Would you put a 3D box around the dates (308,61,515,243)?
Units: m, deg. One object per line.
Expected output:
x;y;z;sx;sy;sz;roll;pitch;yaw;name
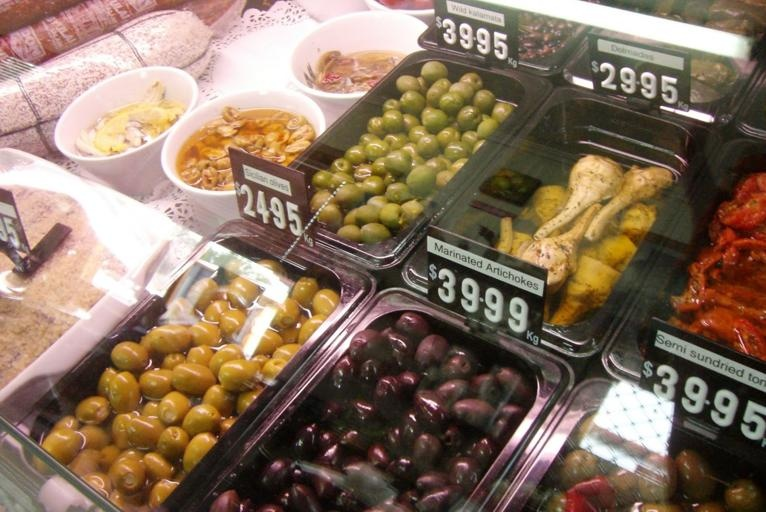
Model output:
0.118;-0.432;2.041;0.489;0.425;0.905;23;40;21;dates
